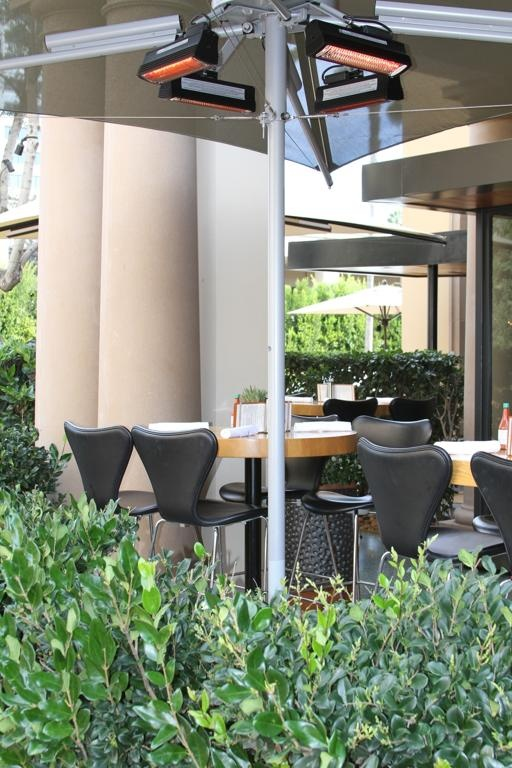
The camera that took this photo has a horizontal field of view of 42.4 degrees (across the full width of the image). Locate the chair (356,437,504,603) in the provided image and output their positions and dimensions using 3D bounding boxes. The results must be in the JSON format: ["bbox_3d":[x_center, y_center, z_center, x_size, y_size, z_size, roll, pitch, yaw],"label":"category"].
[{"bbox_3d":[0.680,0.577,2.572,0.510,0.703,0.487,0,-1,-39],"label":"chair"}]

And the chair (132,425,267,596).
[{"bbox_3d":[-0.234,0.582,3.034,0.489,0.809,0.568,1,3,35],"label":"chair"}]

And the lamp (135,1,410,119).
[{"bbox_3d":[0.060,-1.104,2.170,0.868,0.293,0.519,0,0,-12],"label":"lamp"}]

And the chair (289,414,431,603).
[{"bbox_3d":[0.423,0.682,3.391,0.454,0.762,0.420,-4,-5,12],"label":"chair"}]
